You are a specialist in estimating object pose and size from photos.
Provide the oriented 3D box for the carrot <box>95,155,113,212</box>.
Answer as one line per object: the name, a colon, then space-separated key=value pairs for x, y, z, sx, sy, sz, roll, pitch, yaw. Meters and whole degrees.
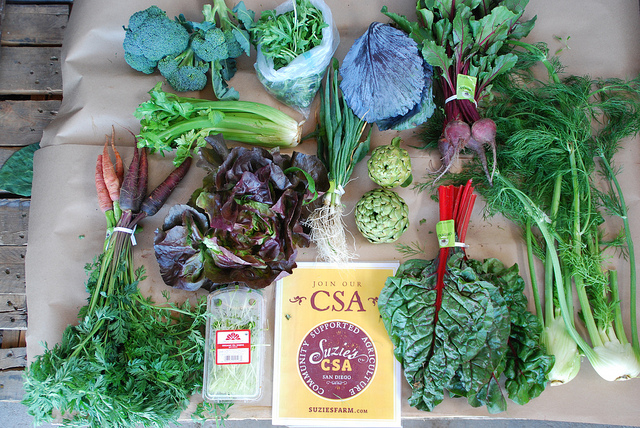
carrot: x=-0.965 y=-0.121 z=2.463 sx=0.058 sy=0.057 sz=0.280 roll=-10 pitch=82 yaw=17

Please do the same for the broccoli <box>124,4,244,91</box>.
broccoli: x=-0.621 y=-0.774 z=2.587 sx=0.464 sy=0.246 sz=0.373 roll=-35 pitch=97 yaw=-1

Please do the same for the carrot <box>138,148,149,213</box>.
carrot: x=-0.780 y=-0.153 z=2.436 sx=0.036 sy=0.038 sz=0.270 roll=3 pitch=80 yaw=-8

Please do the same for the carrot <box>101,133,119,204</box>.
carrot: x=-0.950 y=-0.221 z=2.424 sx=0.057 sy=0.058 sz=0.349 roll=-13 pitch=76 yaw=8

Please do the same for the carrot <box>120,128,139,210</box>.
carrot: x=-0.839 y=-0.198 z=2.432 sx=0.068 sy=0.068 sz=0.356 roll=6 pitch=83 yaw=-17

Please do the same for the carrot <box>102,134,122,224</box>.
carrot: x=-0.929 y=-0.156 z=2.451 sx=0.054 sy=0.052 sz=0.411 roll=-23 pitch=75 yaw=42

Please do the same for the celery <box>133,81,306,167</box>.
celery: x=-0.431 y=-0.401 z=2.453 sx=0.684 sy=0.243 sz=0.376 roll=5 pitch=44 yaw=-1

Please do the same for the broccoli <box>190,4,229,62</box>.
broccoli: x=-0.488 y=-0.786 z=2.496 sx=0.149 sy=0.136 sz=0.258 roll=-14 pitch=80 yaw=8

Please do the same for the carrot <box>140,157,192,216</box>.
carrot: x=-0.689 y=-0.104 z=2.471 sx=0.089 sy=0.090 sz=0.405 roll=32 pitch=73 yaw=-5

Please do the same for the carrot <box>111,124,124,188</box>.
carrot: x=-0.905 y=-0.262 z=2.452 sx=0.048 sy=0.053 sz=0.266 roll=-14 pitch=82 yaw=24

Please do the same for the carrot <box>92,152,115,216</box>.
carrot: x=-0.965 y=-0.114 z=2.470 sx=0.073 sy=0.072 sz=0.349 roll=-14 pitch=82 yaw=37

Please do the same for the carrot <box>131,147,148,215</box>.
carrot: x=-0.795 y=-0.146 z=2.436 sx=0.048 sy=0.050 sz=0.297 roll=2 pitch=77 yaw=-5

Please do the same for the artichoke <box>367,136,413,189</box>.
artichoke: x=0.297 y=-0.207 z=2.446 sx=0.229 sy=0.197 sz=0.220 roll=-3 pitch=76 yaw=23
